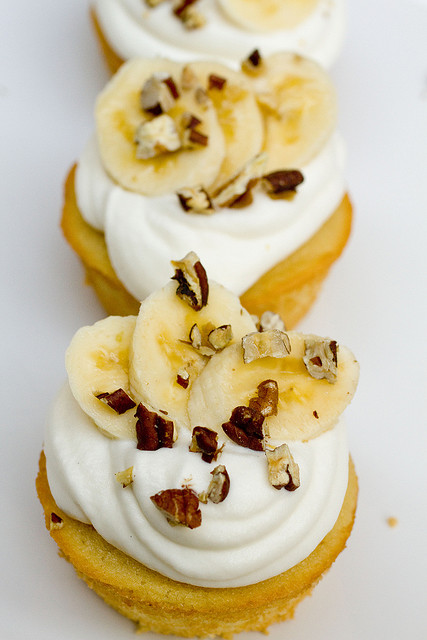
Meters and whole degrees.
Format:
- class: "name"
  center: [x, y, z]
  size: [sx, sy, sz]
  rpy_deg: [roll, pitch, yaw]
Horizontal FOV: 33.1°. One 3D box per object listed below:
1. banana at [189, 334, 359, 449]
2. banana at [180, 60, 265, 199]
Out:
- class: "banana"
  center: [0.118, 0.136, 1.383]
  size: [0.353, 0.094, 0.202]
  rpy_deg: [-18, 59, -10]
- class: "banana"
  center: [0.055, -0.462, 1.742]
  size: [0.244, 0.038, 0.321]
  rpy_deg: [3, 82, -10]
